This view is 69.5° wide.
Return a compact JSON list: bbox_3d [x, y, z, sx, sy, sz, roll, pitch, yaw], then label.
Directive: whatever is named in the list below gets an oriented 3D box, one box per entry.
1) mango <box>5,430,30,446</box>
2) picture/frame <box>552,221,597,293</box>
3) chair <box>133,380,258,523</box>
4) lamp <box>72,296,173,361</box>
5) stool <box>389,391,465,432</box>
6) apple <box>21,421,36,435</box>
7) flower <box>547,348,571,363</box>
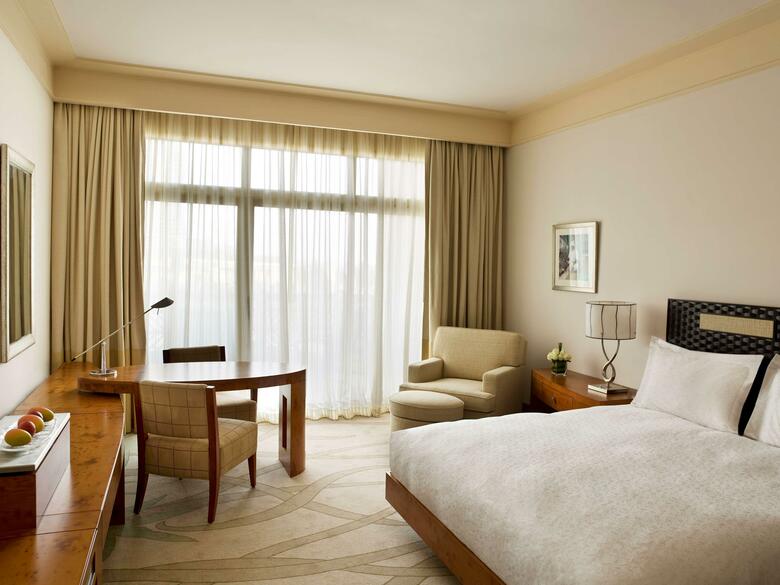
[{"bbox_3d":[-1.793,0.704,2.711,0.099,0.072,0.070,9,0,-5],"label":"mango"},{"bbox_3d":[1.843,-0.350,5.620,0.053,0.787,0.621,-2,5,-29],"label":"picture/frame"},{"bbox_3d":[-1.392,1.068,4.271,0.739,1.205,0.942,0,0,15],"label":"chair"},{"bbox_3d":[-2.576,0.349,5.326,0.826,0.101,0.137,-39,9,-7],"label":"lamp"},{"bbox_3d":[0.325,1.059,5.131,0.404,0.323,0.410,-1,0,36],"label":"stool"},{"bbox_3d":[-1.825,0.685,2.843,0.062,0.041,0.050,18,-3,15],"label":"apple"},{"bbox_3d":[1.599,0.608,5.369,0.175,0.168,0.178,-3,-5,42],"label":"flower"}]
